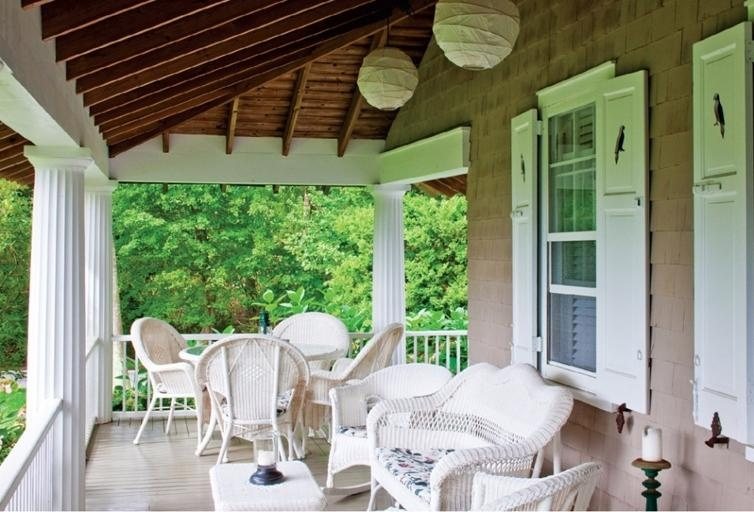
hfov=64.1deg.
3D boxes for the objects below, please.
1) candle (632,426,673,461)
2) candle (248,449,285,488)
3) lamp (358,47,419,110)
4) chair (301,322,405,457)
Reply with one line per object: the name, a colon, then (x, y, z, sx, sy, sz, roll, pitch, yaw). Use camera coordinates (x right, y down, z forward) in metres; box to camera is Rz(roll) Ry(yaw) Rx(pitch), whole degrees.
candle: (1.664, 1.144, 3.658, 0.114, 0.192, 0.078, -3, -4, 23)
candle: (-0.725, 1.396, 4.007, 0.209, 0.149, 0.211, 0, -5, -8)
lamp: (0.117, -1.552, 5.225, 0.497, 0.546, 0.497, -6, 22, -30)
chair: (-0.371, 1.295, 6.073, 0.903, 1.113, 0.784, 0, -12, 16)
